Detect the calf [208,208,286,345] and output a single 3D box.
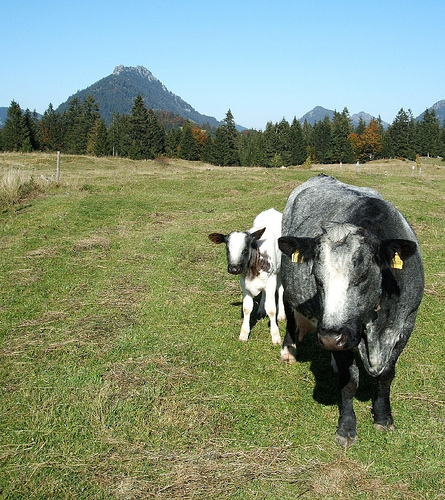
[{"bbox_3d":[0.671,0.359,9.148,1.027,2.007,2.925,-1,1,14],"label":"calf"}]
